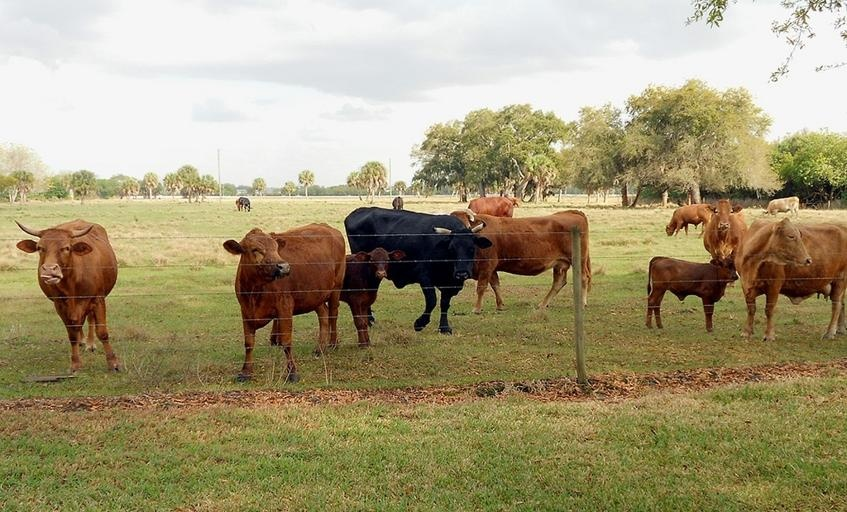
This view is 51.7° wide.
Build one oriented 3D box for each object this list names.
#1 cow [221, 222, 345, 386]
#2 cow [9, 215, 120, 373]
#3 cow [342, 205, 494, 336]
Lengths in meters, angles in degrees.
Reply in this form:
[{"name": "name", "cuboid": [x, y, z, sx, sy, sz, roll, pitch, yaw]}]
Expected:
[{"name": "cow", "cuboid": [-3.199, 0.880, 20.766, 1.828, 3.520, 5.277, 2, 5, 13]}, {"name": "cow", "cuboid": [-7.998, 0.881, 20.249, 1.890, 3.301, 2.285, -1, 4, -3]}, {"name": "cow", "cuboid": [0.016, 0.439, 23.380, 1.680, 3.164, 4.604, -4, 9, -39]}]
